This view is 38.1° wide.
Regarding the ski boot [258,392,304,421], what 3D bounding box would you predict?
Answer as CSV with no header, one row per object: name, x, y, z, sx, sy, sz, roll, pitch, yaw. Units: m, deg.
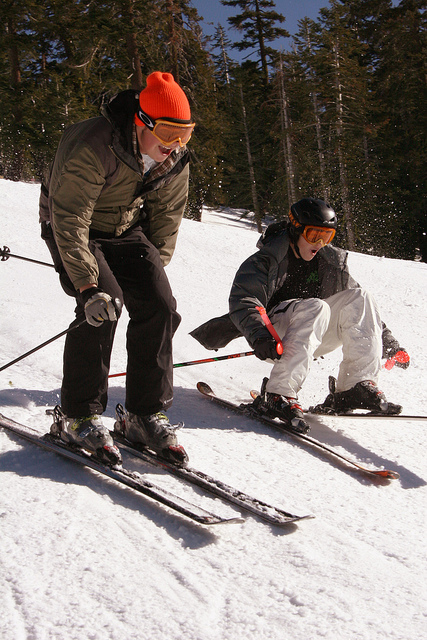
ski boot,0.396,0.496,3.584,0.295,0.112,0.098,13,10,38

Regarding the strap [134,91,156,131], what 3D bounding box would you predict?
strap,-0.285,-0.840,2.520,0.038,0.129,0.138,-18,9,24

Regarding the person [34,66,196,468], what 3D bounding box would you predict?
person,-0.349,-0.184,2.682,0.768,1.678,0.553,-8,11,-42

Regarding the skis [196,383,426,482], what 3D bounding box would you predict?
skis,0.544,0.641,3.482,0.194,0.135,1.775,-1,10,-41

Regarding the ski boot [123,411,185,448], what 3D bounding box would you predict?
ski boot,-0.245,0.494,2.817,0.334,0.132,0.110,6,-1,34

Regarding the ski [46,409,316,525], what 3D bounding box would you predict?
ski,-0.379,0.457,2.949,0.227,0.100,2.082,4,8,-42

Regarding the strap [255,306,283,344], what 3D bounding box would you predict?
strap,0.328,0.052,3.563,0.050,0.054,0.397,-22,50,2

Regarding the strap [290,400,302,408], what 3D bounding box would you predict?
strap,0.474,0.483,3.553,0.040,0.060,0.024,-48,9,-32
